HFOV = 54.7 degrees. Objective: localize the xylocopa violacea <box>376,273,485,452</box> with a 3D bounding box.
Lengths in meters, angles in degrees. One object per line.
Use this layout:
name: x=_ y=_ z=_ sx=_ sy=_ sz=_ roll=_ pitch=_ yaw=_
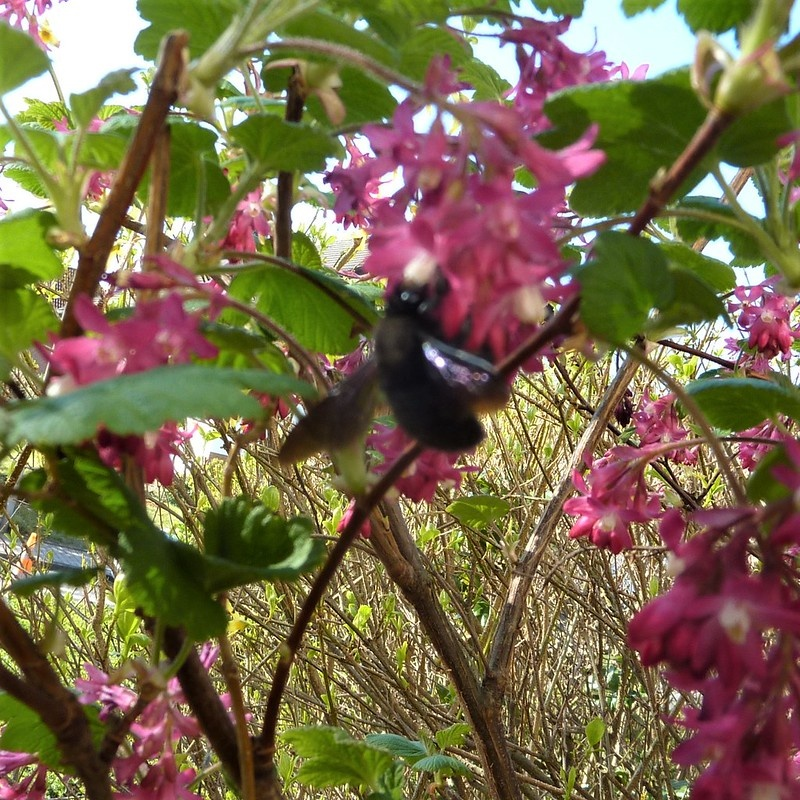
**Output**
xylocopa violacea: x=0.012 y=-0.020 z=0.448 sx=0.054 sy=0.098 sz=0.050 roll=-8 pitch=-45 yaw=-16
